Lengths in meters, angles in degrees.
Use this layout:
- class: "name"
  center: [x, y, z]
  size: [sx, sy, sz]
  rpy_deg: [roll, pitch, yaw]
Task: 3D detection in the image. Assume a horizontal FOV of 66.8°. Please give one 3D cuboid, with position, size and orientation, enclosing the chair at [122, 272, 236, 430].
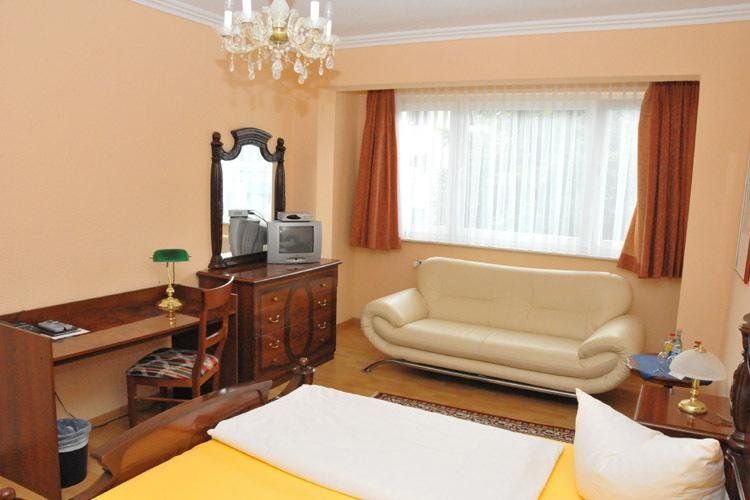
- class: "chair"
  center: [-1.488, 0.859, 4.390]
  size: [0.802, 1.085, 0.779]
  rpy_deg: [0, 4, 27]

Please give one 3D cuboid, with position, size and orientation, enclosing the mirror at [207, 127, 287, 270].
- class: "mirror"
  center: [-1.220, -0.520, 5.471]
  size: [0.294, 1.286, 1.007]
  rpy_deg: [7, 14, 21]

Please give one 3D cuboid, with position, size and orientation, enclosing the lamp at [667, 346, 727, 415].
- class: "lamp"
  center: [1.897, 0.769, 3.389]
  size: [0.337, 0.364, 0.318]
  rpy_deg: [21, -14, -41]

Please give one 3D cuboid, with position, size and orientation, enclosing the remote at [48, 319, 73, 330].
- class: "remote"
  center: [-2.174, 0.523, 3.939]
  size: [0.100, 0.021, 0.087]
  rpy_deg: [1, 14, -31]

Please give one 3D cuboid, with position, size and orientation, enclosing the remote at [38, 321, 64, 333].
- class: "remote"
  center: [-2.196, 0.527, 3.911]
  size: [0.126, 0.026, 0.087]
  rpy_deg: [10, 12, 28]

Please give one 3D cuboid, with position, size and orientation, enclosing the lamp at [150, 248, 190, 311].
- class: "lamp"
  center: [-1.646, 0.224, 4.592]
  size: [0.298, 0.450, 0.277]
  rpy_deg: [1, 3, -8]
